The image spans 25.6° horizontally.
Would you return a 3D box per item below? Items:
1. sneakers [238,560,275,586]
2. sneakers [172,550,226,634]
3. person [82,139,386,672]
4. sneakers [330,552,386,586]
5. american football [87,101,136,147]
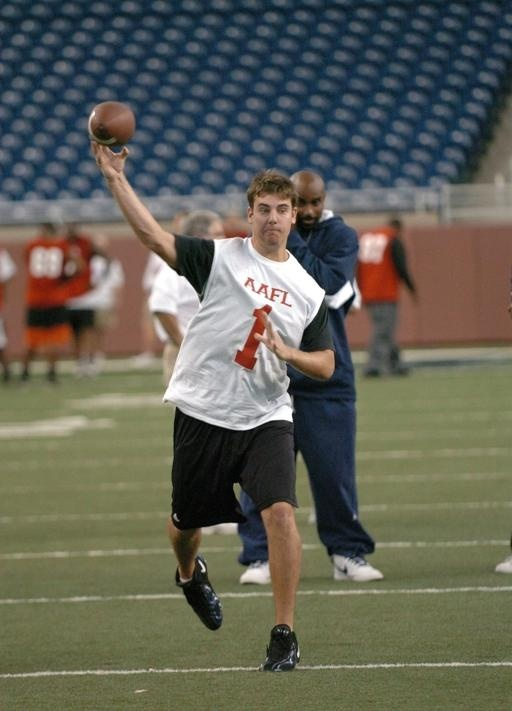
[{"bbox_3d":[0.003,0.964,4.980,0.106,0.093,0.261,-2,-11,12],"label":"sneakers"},{"bbox_3d":[-0.184,0.852,4.052,0.115,0.315,0.144,-40,-15,21],"label":"sneakers"},{"bbox_3d":[-0.103,0.149,3.826,0.611,1.686,0.555,-1,4,22],"label":"person"},{"bbox_3d":[0.421,0.936,4.897,0.092,0.101,0.263,6,-10,-43],"label":"sneakers"},{"bbox_3d":[-0.480,-0.795,3.882,0.174,0.134,0.125,6,28,-9],"label":"american football"}]
